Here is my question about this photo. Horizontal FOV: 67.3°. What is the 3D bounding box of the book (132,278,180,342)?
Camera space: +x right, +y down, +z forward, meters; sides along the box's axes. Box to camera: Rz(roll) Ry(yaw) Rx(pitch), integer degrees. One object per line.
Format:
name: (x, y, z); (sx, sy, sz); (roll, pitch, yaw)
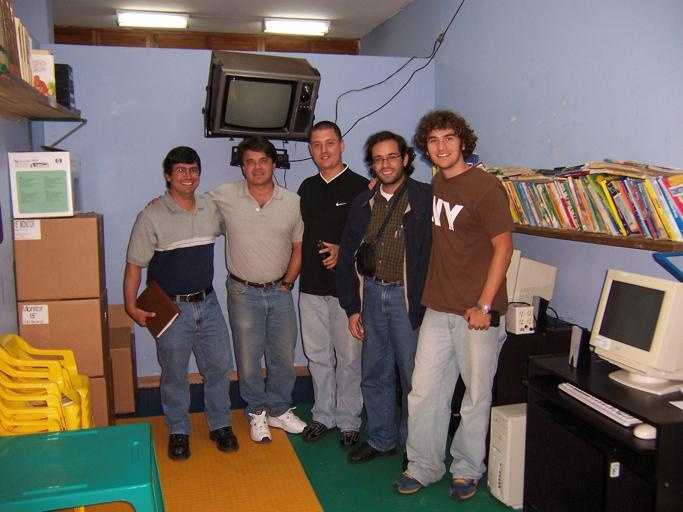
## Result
book: (-1.179, 0.335, 3.232); (0.405, 0.334, 0.083); (10, 15, 40)

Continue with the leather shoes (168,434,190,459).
leather shoes: (-1.063, 1.229, 3.320); (0.135, 0.129, 0.134); (-3, 12, -15)

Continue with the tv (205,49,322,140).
tv: (-0.670, -1.225, 3.981); (0.815, 0.543, 0.573); (-4, 34, -27)

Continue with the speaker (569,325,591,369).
speaker: (1.293, 0.492, 2.729); (0.113, 0.203, 0.116); (3, 5, -31)

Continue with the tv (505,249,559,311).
tv: (1.218, 0.142, 3.288); (0.368, 0.341, 0.102); (7, -1, 27)

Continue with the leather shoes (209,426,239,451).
leather shoes: (-0.784, 1.219, 3.413); (0.099, 0.100, 0.230); (-2, 7, -36)

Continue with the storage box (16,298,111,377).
storage box: (-1.846, 0.532, 3.537); (0.517, 0.494, 0.499); (-1, 2, -2)

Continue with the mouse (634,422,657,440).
mouse: (1.328, 0.760, 2.222); (0.065, 0.061, 0.068); (-3, 12, -18)

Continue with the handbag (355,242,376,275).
handbag: (0.154, 0.016, 3.195); (0.134, 0.189, 0.064); (0, 1, 38)

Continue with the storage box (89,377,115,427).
storage box: (-1.638, 0.980, 3.485); (0.111, 0.395, 0.295); (-4, 12, -23)

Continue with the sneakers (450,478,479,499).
sneakers: (0.718, 1.332, 2.974); (0.156, 0.061, 0.087); (-1, 11, -23)

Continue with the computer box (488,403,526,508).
computer box: (0.963, 1.143, 2.957); (0.198, 0.511, 0.271); (4, 12, 17)

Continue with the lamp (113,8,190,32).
lamp: (-2.089, -2.598, 5.644); (0.763, 0.095, 0.384); (-2, 12, -12)

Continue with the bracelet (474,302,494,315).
bracelet: (0.775, 0.278, 2.729); (0.066, 0.064, 0.064); (-6, 6, -9)

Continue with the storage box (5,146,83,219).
storage box: (-1.894, -0.444, 3.265); (0.417, 0.414, 0.408); (-1, 0, -10)
